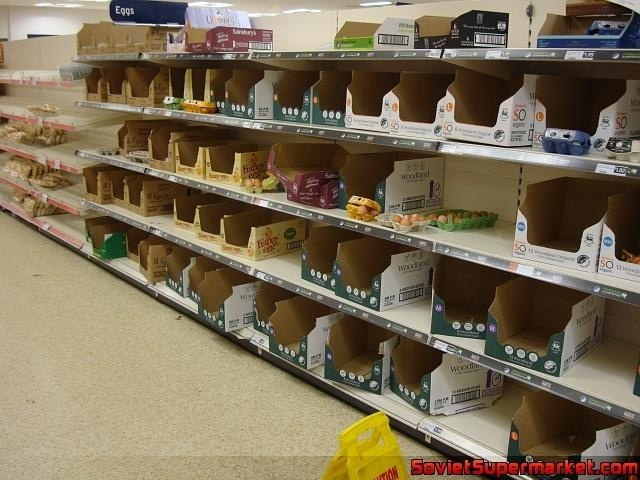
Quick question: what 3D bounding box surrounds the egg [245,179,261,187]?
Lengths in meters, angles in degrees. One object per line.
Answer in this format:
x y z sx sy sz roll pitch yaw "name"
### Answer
-0.515 -0.447 3.587 0.095 0.046 0.062 8 47 9 "egg"
